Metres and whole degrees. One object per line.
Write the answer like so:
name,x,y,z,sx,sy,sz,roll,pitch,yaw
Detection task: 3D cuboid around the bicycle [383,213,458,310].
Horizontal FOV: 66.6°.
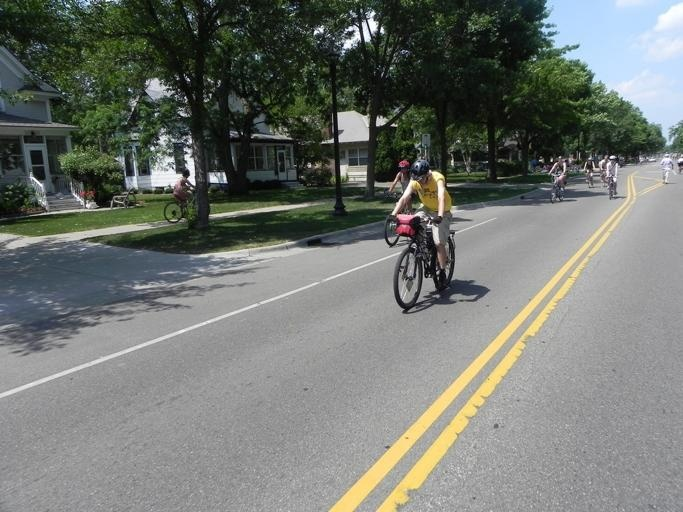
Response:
bicycle,1.267,0.003,8.636,0.313,1.550,1.840,8,17,39

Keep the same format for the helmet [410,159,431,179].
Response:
helmet,1.251,-1.410,8.366,0.311,0.302,0.405,0,14,8

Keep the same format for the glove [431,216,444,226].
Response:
glove,1.520,-0.570,8.425,0.183,0.193,0.314,0,14,10
